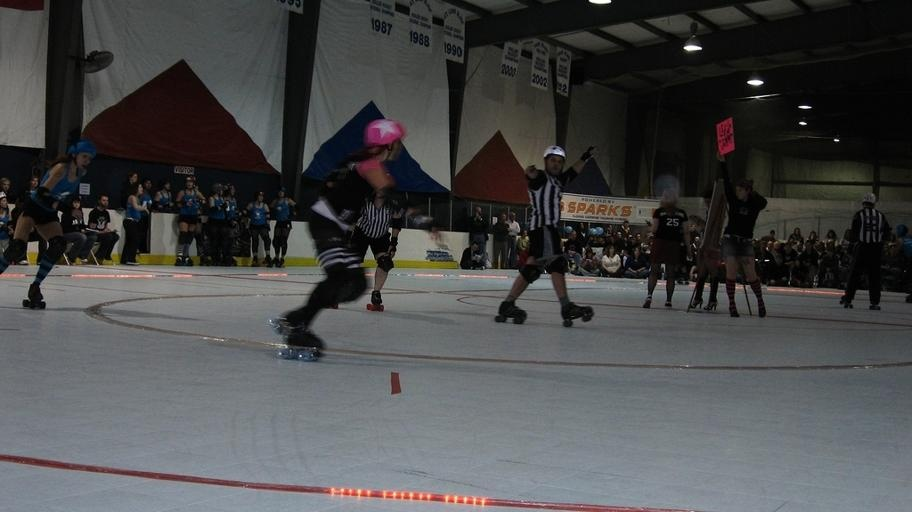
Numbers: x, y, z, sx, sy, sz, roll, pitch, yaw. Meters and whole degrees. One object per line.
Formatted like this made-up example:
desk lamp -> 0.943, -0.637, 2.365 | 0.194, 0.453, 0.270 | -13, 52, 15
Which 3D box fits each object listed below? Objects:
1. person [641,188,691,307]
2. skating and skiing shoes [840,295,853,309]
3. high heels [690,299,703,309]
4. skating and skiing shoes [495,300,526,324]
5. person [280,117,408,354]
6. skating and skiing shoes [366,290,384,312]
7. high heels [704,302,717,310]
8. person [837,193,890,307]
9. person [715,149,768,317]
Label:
person -> 3.725, -0.134, 12.349 | 0.603, 2.104, 1.214 | 5, 9, 23
skating and skiing shoes -> 7.704, 0.929, 13.782 | 0.255, 0.111, 0.330 | 9, -18, 13
high heels -> 4.299, 0.844, 12.448 | 0.126, 0.170, 0.409 | -7, -15, 39
skating and skiing shoes -> 0.760, 0.743, 9.395 | 0.390, 0.287, 0.273 | -1, 0, 8
person -> -1.084, -0.198, 6.685 | 1.224, 2.233, 0.754 | -6, 11, -41
skating and skiing shoes -> -1.139, 0.681, 10.321 | 0.159, 0.295, 0.423 | -1, -7, 8
high heels -> 4.519, 0.897, 12.337 | 0.128, 0.158, 0.386 | -6, -13, 43
person -> 8.336, -0.137, 14.113 | 0.835, 2.214, 0.761 | 2, 8, 24
person -> 4.679, -0.360, 11.698 | 0.841, 2.865, 1.108 | 0, 1, 44
